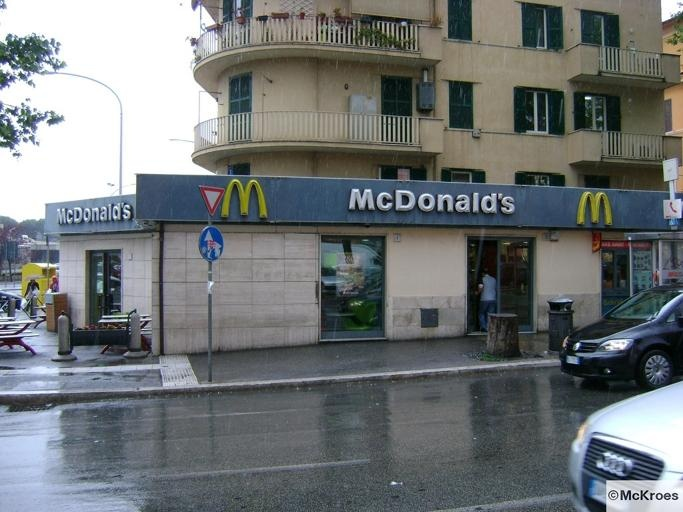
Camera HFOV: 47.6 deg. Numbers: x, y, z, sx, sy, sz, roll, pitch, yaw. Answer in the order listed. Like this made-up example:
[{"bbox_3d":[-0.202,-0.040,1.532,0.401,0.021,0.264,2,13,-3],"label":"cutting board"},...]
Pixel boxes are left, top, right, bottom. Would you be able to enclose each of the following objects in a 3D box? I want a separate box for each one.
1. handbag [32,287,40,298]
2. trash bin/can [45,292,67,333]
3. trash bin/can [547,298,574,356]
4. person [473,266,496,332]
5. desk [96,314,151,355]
[{"bbox_3d":[-13.331,1.609,33.719,0.278,0.355,0.576,-5,23,-6],"label":"handbag"},{"bbox_3d":[-9.762,1.939,26.635,0.694,1.378,1.041,1,-4,-41],"label":"trash bin/can"},{"bbox_3d":[5.947,1.917,20.863,0.732,1.568,0.733,2,-9,-10],"label":"trash bin/can"},{"bbox_3d":[4.649,1.402,24.501,0.647,1.993,0.602,0,-3,-16],"label":"person"},{"bbox_3d":[-6.342,2.041,22.766,1.659,1.390,1.204,-1,-5,0],"label":"desk"}]
